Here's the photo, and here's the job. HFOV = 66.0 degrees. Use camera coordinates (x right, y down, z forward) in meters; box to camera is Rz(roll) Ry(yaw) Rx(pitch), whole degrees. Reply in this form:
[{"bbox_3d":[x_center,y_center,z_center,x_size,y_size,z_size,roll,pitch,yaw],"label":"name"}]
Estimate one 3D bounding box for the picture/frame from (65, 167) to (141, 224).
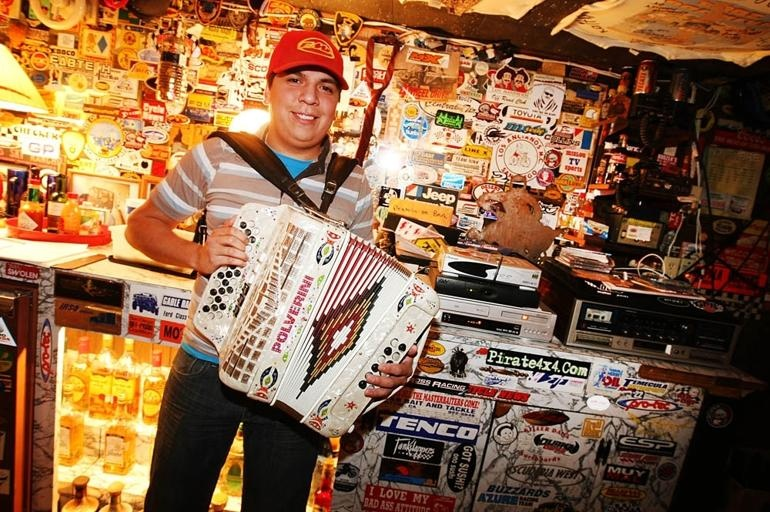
[{"bbox_3d":[-2.078,-0.464,4.350,0.514,0.418,0.157,5,8,-5],"label":"picture/frame"}]
